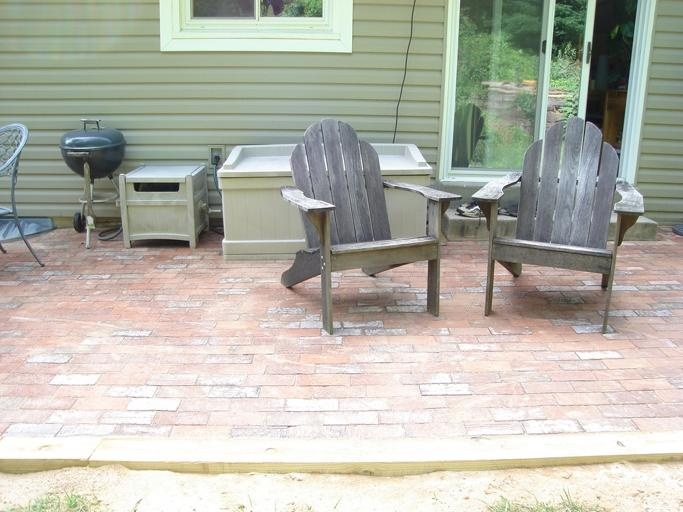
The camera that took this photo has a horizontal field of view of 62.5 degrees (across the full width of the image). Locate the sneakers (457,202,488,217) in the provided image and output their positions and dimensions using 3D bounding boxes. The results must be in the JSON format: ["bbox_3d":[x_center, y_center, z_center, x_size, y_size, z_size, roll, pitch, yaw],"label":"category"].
[{"bbox_3d":[1.157,-0.420,5.093,0.422,0.115,0.207,3,7,0],"label":"sneakers"}]

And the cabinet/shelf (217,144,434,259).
[{"bbox_3d":[-0.202,-0.360,4.898,2.399,0.841,1.058,0,22,-1],"label":"cabinet/shelf"}]

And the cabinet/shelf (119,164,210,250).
[{"bbox_3d":[-1.454,-0.450,4.997,0.981,0.603,0.770,1,21,-1],"label":"cabinet/shelf"}]
